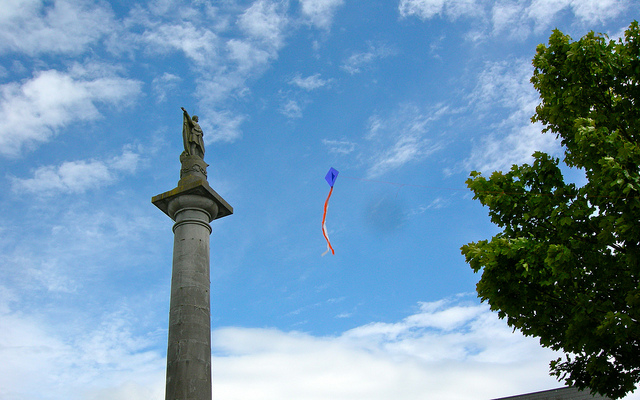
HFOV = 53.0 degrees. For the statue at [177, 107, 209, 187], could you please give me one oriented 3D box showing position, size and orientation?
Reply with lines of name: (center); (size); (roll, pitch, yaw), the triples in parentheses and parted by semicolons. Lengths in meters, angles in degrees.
statue: (-3.514, -1.444, 17.796); (0.791, 2.111, 1.304); (-9, -17, 16)
